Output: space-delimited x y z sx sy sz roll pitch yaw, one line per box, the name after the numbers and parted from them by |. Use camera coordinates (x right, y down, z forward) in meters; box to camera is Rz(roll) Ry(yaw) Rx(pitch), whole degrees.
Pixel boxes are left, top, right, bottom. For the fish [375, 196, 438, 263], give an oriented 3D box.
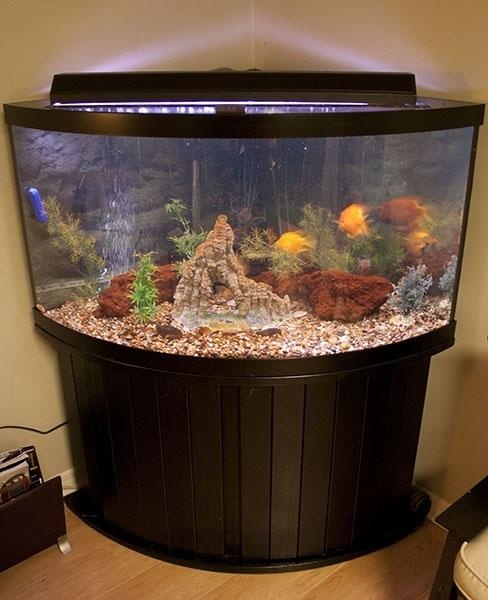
0.439 -0.195 1.414 0.223 0.182 0.022 -17 26 -31 | fish

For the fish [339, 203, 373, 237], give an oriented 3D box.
0.276 -0.202 1.322 0.091 0.085 0.007 -13 24 -22 | fish
